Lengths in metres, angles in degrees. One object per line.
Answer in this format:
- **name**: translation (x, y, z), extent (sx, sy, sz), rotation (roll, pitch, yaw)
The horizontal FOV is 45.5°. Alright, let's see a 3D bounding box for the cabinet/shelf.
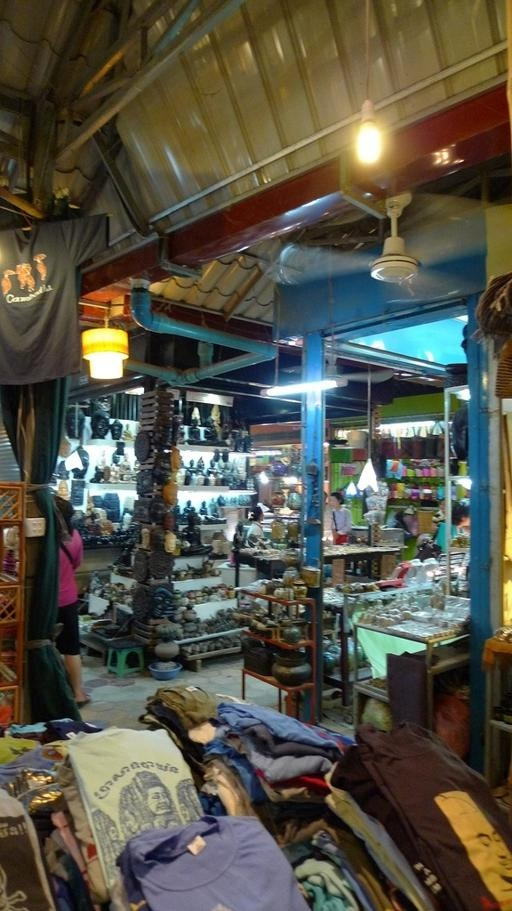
- **cabinet/shelf**: translation (-0.225, 0.964, 5.133), extent (2.853, 1.635, 4.250), rotation (2, 0, -42)

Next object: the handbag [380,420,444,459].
- **handbag**: translation (2.839, -0.309, 10.978), extent (1.205, 0.708, 0.808), rotation (0, -11, 44)

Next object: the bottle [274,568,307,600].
- **bottle**: translation (0.251, 0.987, 4.717), extent (0.266, 0.212, 0.327), rotation (0, -7, 14)

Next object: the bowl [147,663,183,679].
- **bowl**: translation (-0.872, 2.035, 5.801), extent (0.173, 0.072, 0.184), rotation (-1, -2, 0)

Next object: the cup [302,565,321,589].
- **cup**: translation (0.428, 0.935, 4.748), extent (0.138, 0.164, 0.146), rotation (2, -2, 0)

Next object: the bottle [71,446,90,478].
- **bottle**: translation (-2.501, 0.108, 8.720), extent (0.152, 0.430, 0.301), rotation (0, 19, -39)
